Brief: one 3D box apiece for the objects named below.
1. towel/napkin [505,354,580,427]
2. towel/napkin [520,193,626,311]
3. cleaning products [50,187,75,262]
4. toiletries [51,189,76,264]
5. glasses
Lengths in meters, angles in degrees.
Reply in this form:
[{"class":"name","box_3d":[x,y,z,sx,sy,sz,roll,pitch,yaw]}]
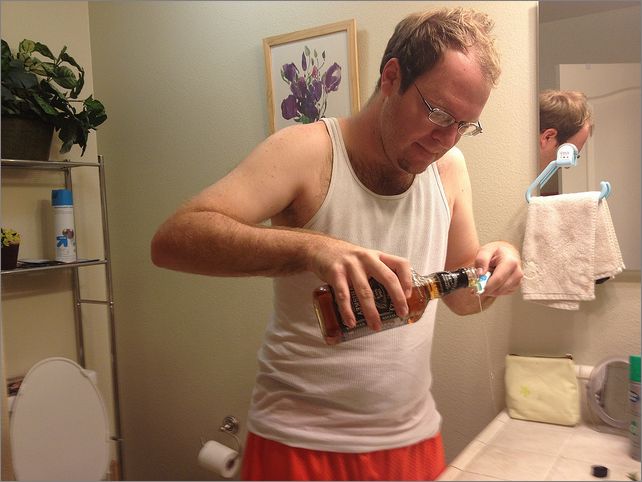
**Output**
[{"class":"towel/napkin","box_3d":[0.774,0.528,1.722,0.203,0.217,0.068,-2,-17,25]},{"class":"towel/napkin","box_3d":[0.833,0.039,1.681,0.318,0.450,0.153,-4,-5,36]},{"class":"cleaning products","box_3d":[-1.187,-0.066,2.289,0.095,0.331,0.188,0,5,-28]},{"class":"toiletries","box_3d":[-1.186,-0.065,2.288,0.095,0.331,0.186,0,5,-28]},{"class":"glasses","box_3d":[0.316,-0.306,1.272,0.042,0.143,0.137,-43,-32,27]}]
